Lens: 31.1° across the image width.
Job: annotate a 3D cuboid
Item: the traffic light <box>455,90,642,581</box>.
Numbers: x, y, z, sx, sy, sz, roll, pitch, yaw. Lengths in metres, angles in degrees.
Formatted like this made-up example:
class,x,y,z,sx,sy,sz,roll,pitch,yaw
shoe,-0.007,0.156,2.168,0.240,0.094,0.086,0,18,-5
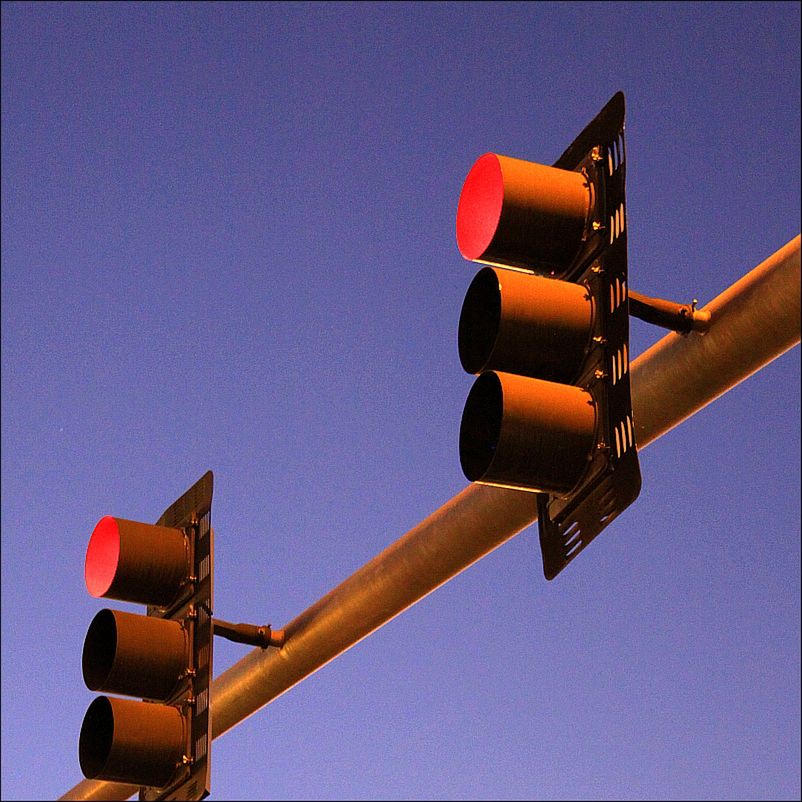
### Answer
class,x,y,z,sx,sy,sz,roll,pitch,yaw
traffic light,0.445,-0.209,4.494,0.529,1.066,0.939,-2,-44,5
